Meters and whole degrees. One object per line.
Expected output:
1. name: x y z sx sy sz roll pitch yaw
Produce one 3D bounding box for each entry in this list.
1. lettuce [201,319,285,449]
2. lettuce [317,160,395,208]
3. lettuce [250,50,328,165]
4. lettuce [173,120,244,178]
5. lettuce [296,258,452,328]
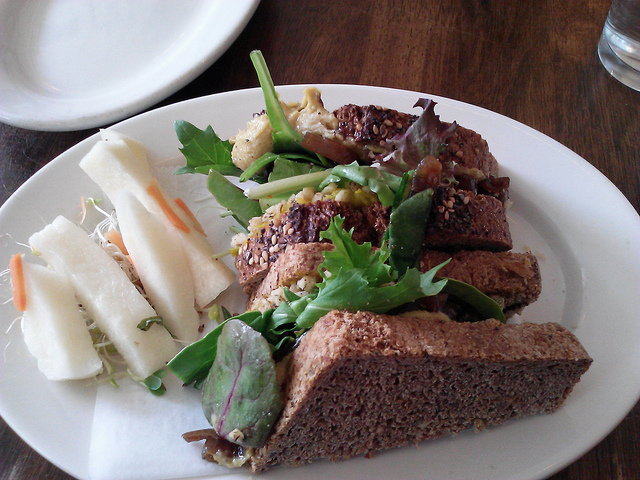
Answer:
1. lettuce: -0.287 0.559 2.393 0.300 0.092 0.486 -12 85 27
2. lettuce: 0.189 -0.265 2.721 0.210 0.221 0.069 29 89 2
3. lettuce: -0.153 -0.571 3.045 0.252 0.111 0.674 -17 97 11
4. lettuce: -0.556 -0.453 3.135 0.339 0.176 0.257 0 83 4
5. lettuce: 0.205 0.194 2.478 0.607 0.254 0.190 -8 103 -8
